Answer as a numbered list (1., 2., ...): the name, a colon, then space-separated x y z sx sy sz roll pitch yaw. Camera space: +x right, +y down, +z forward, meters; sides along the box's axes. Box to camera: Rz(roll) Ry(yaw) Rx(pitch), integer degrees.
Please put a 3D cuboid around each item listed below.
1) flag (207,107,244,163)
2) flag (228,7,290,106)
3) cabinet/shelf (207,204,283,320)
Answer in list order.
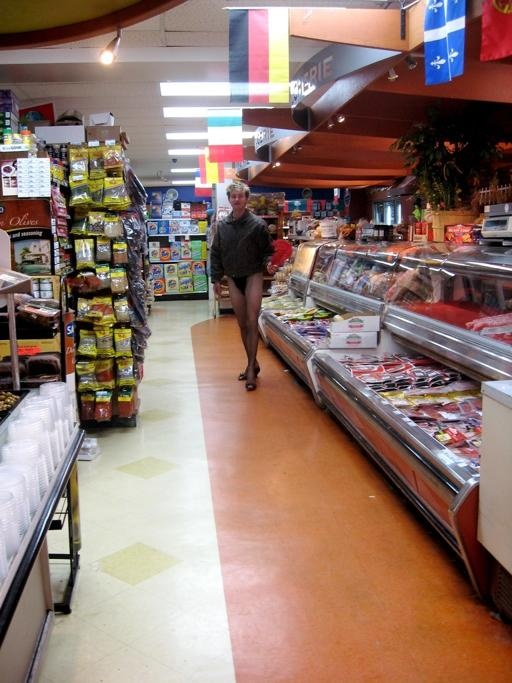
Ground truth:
1. flag: -0.415 -2.834 6.678 0.537 0.688 0.075 9 23 22
2. flag: 0.016 -2.019 3.421 0.416 0.611 0.339 0 5 2
3. cabinet/shelf: -0.154 -0.882 4.519 0.590 0.739 0.298 0 16 13
